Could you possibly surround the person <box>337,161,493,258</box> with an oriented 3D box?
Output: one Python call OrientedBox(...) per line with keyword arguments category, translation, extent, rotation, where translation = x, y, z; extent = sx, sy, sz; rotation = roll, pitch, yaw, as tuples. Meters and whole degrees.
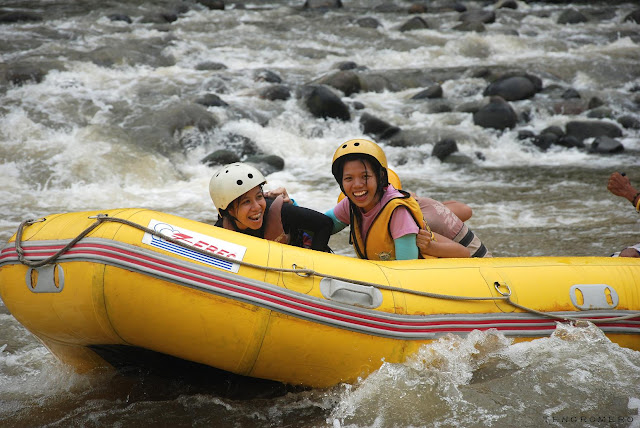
OrientedBox(category="person", translation=(1.263, -0.012, 13.730), extent=(1.441, 0.542, 0.591), rotation=(18, 59, -20))
